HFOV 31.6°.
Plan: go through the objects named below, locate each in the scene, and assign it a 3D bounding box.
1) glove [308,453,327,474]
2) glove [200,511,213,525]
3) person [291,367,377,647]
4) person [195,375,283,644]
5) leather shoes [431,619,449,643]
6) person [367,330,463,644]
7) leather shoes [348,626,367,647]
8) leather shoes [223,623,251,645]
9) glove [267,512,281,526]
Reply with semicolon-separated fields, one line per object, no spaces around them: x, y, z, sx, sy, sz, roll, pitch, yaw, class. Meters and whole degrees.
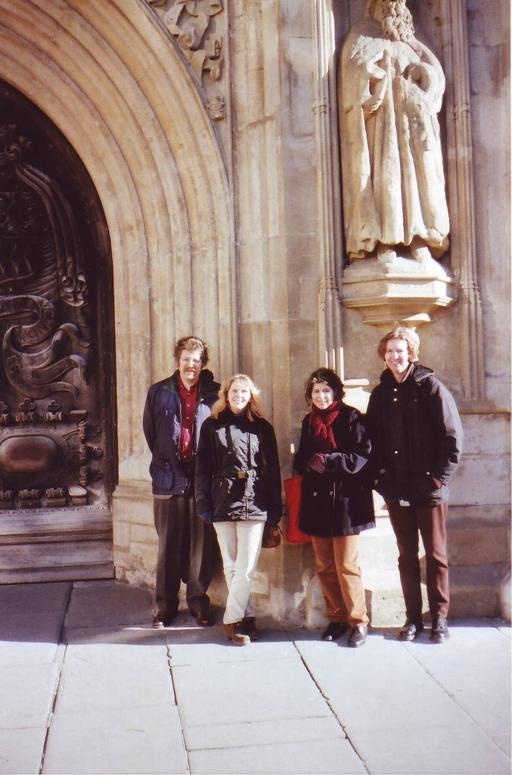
0.306;0.380;4.558;0.095;0.088;0.034;12;4;39;glove
-0.253;0.667;4.658;0.063;0.074;0.032;-20;-2;-27;glove
0.403;0.591;4.633;0.454;1.370;0.262;6;9;44;person
-0.091;0.612;4.628;0.436;1.345;0.333;-1;7;-3;person
0.924;1.218;4.568;0.083;0.103;0.129;1;7;11;leather shoes
0.792;0.483;4.604;0.469;1.560;0.322;0;7;8;person
0.501;1.240;4.519;0.066;0.083;0.123;2;8;25;leather shoes
-0.087;1.244;4.595;0.122;0.101;0.135;-2;7;-11;leather shoes
0.092;0.674;4.614;0.063;0.060;0.069;2;-20;-1;glove
